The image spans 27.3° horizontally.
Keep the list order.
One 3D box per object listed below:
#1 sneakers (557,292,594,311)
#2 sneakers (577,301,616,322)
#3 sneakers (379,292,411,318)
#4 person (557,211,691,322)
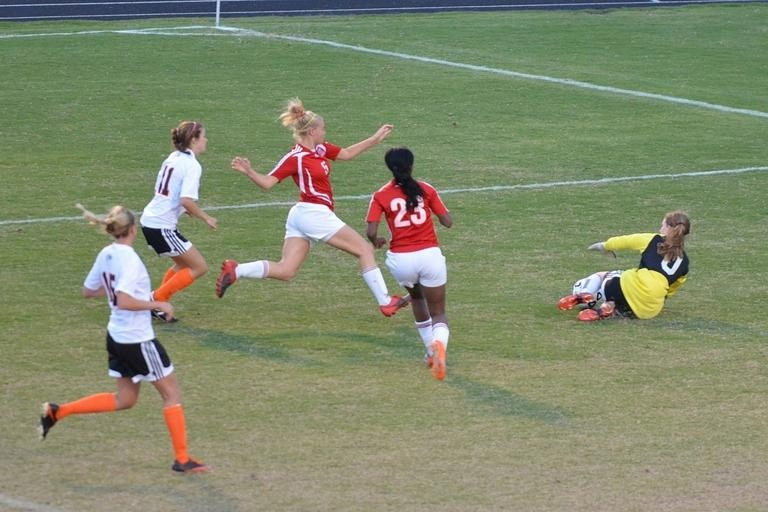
[{"bbox_3d":[2.893,0.680,23.820,0.548,0.140,0.262,-4,5,-16],"label":"sneakers"},{"bbox_3d":[3.181,0.842,23.611,0.578,0.093,0.289,-4,19,-17],"label":"sneakers"},{"bbox_3d":[0.201,0.725,23.230,0.537,0.183,0.244,-26,37,-12],"label":"sneakers"},{"bbox_3d":[3.710,0.233,24.334,2.087,0.938,1.310,-27,17,-12],"label":"person"}]
